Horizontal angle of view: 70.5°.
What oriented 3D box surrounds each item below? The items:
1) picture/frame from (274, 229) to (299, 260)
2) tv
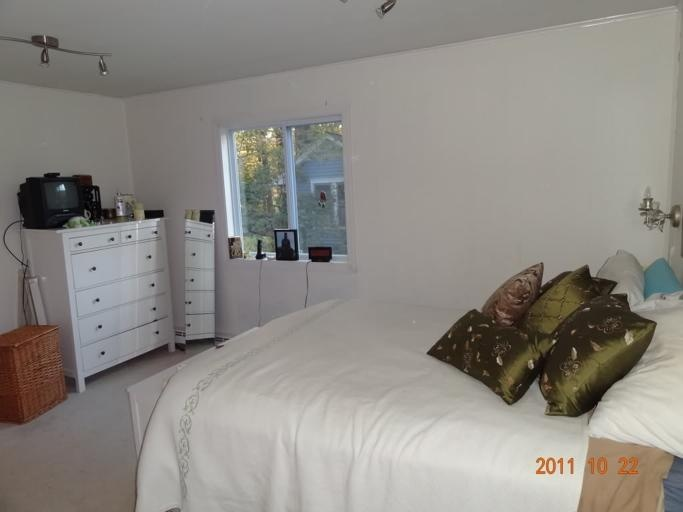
[{"bbox_3d":[-0.559,-0.123,5.033,0.275,0.355,0.066,3,10,22],"label":"picture/frame"},{"bbox_3d":[-2.744,-0.539,4.617,0.482,0.502,0.469,5,12,38],"label":"tv"}]
